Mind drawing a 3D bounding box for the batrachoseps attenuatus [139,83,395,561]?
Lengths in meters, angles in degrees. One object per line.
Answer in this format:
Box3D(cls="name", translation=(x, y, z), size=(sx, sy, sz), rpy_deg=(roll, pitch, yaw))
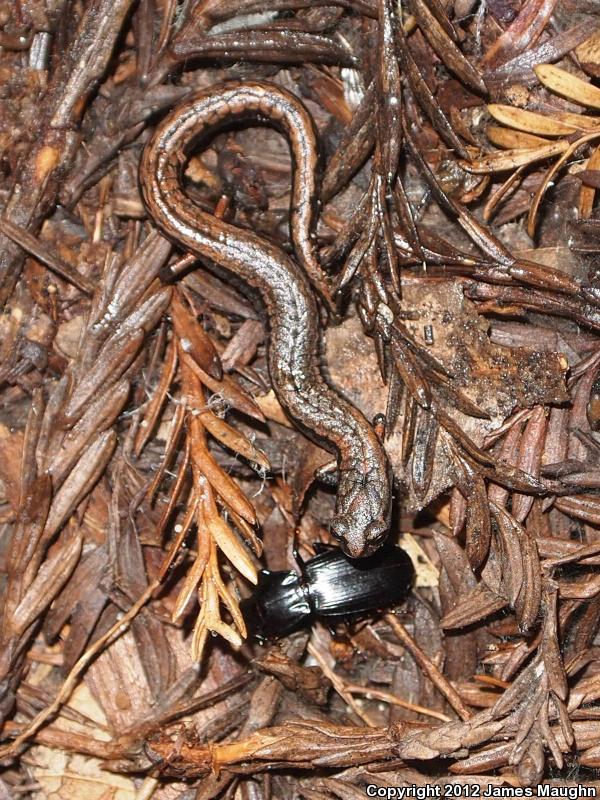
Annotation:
Box3D(cls="batrachoseps attenuatus", translation=(-0.065, -0.323, 2.606), size=(0.621, 0.190, 1.559), rpy_deg=(-17, 92, -2))
